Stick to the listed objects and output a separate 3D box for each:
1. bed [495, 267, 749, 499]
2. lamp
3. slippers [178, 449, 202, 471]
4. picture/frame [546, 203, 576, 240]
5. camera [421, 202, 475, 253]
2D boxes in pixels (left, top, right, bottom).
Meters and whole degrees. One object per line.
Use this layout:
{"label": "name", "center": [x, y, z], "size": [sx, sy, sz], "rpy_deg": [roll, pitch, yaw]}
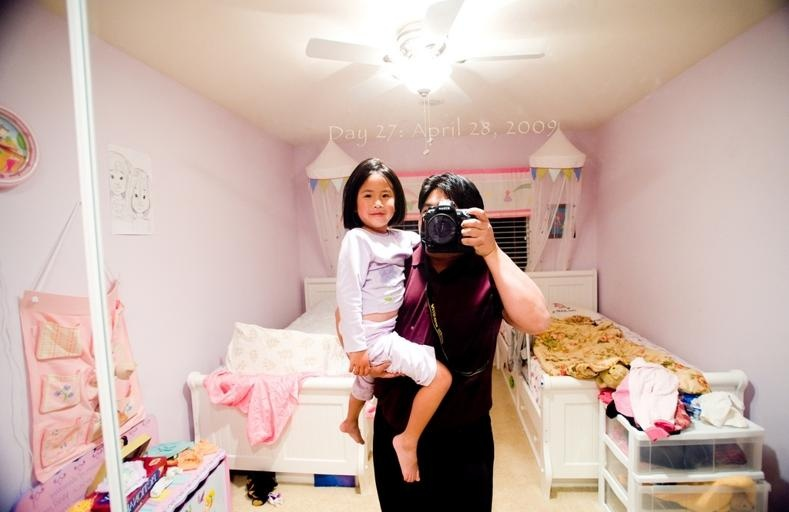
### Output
{"label": "bed", "center": [1.135, 0.722, 3.123], "size": [0.848, 0.900, 1.438], "rpy_deg": [-1, 5, 4]}
{"label": "lamp", "center": [0.120, -0.857, 2.361], "size": [0.262, 0.252, 0.258], "rpy_deg": [-1, -5, 0]}
{"label": "slippers", "center": [-1.054, 1.045, 2.720], "size": [0.086, 0.030, 0.083], "rpy_deg": [17, 24, 0]}
{"label": "picture/frame", "center": [0.802, -0.173, 2.584], "size": [0.189, 0.181, 0.021], "rpy_deg": [0, 2, -20]}
{"label": "camera", "center": [0.232, -0.124, 2.141], "size": [0.224, 0.202, 0.129], "rpy_deg": [2, 11, 29]}
